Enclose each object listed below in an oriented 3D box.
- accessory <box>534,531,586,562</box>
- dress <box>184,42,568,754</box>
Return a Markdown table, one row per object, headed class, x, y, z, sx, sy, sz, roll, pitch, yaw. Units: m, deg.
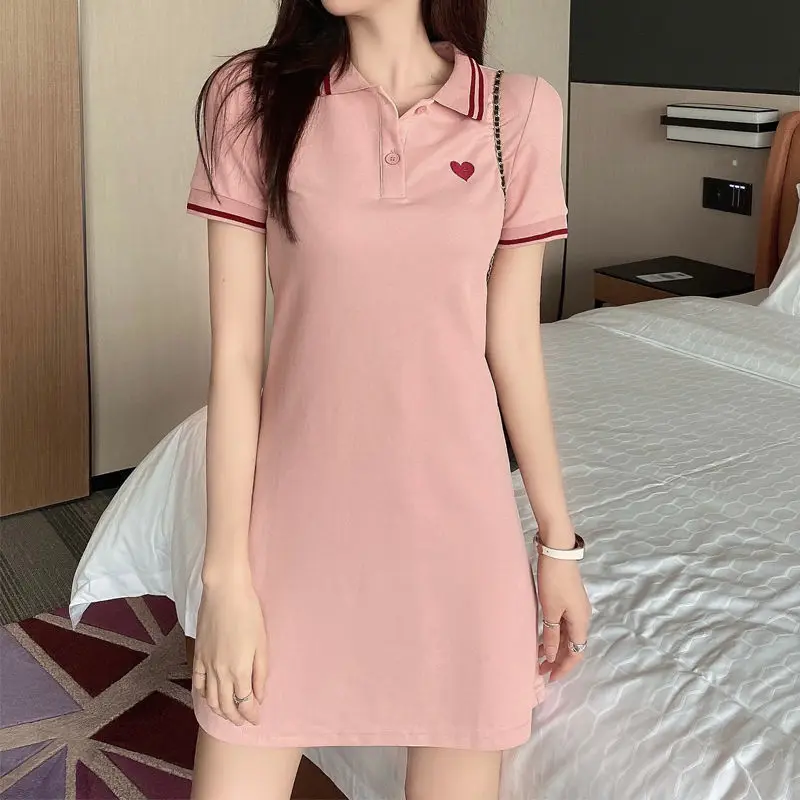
| class | x | y | z | sx | sy | sz | roll | pitch | yaw |
| --- | --- | --- | --- | --- | --- | --- | --- | --- | --- |
| accessory | 0.183 | 0.161 | 0.758 | 0.037 | 0.017 | 0.035 | 1 | 11 | 0 |
| dress | -0.035 | 0.020 | 0.660 | 0.349 | 0.650 | 0.245 | -7 | 19 | -22 |
